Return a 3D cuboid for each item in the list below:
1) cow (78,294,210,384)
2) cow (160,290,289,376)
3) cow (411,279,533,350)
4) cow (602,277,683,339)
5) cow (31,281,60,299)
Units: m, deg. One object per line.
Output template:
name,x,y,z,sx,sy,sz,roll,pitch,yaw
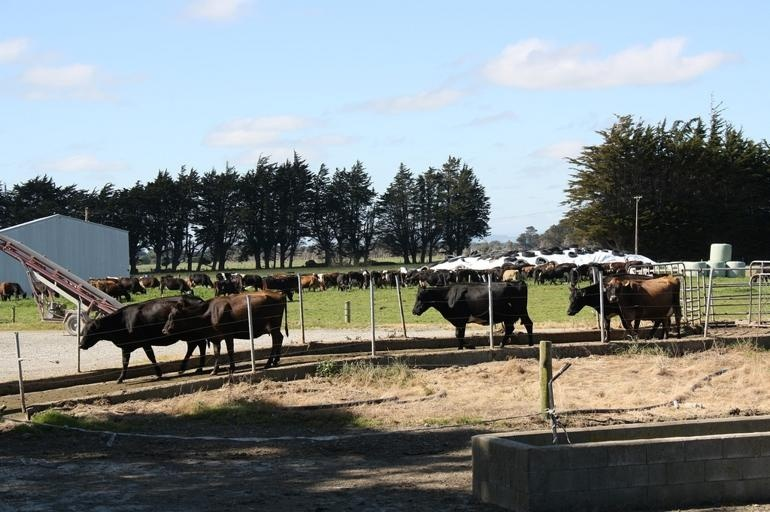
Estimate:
cow,-6.831,2.411,31.257,4.143,2.046,1.000,-5,-15,5
cow,-4.539,2.235,31.414,3.568,2.034,0.969,-4,-1,-13
cow,2.872,1.812,33.629,3.466,1.982,1.551,-2,-3,12
cow,8.286,1.492,34.484,3.470,1.808,1.185,2,-7,-5
cow,-13.992,1.388,44.443,1.167,0.610,0.863,-6,19,42
